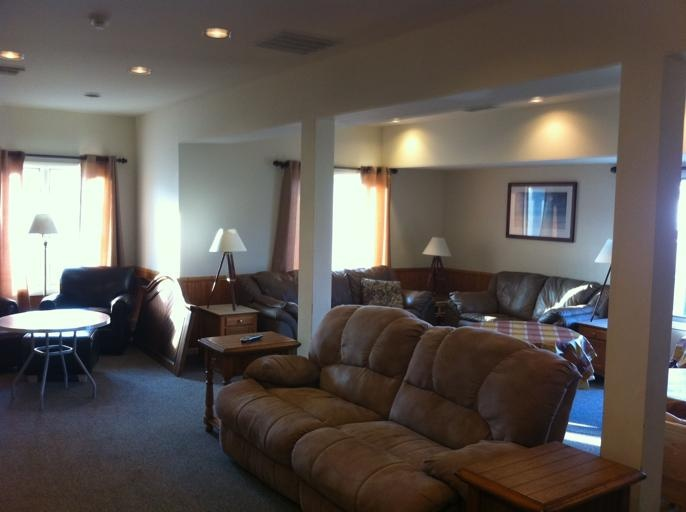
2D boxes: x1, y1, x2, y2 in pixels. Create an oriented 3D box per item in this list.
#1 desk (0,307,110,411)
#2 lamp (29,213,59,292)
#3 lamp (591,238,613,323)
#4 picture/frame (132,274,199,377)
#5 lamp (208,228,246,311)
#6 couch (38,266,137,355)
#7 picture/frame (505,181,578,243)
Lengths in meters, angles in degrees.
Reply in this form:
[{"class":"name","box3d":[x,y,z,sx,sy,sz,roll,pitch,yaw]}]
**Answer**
[{"class":"desk","box3d":[-2.819,0.891,5.188,0.942,0.720,0.955,1,2,-17]},{"class":"lamp","box3d":[-3.798,0.006,6.695,0.294,1.088,0.693,-4,9,-31]},{"class":"lamp","box3d":[2.996,0.259,6.099,0.159,0.902,0.629,5,9,25]},{"class":"picture/frame","box3d":[-2.117,0.861,6.353,0.071,0.747,0.931,13,6,-38]},{"class":"lamp","box3d":[-1.413,0.141,6.405,0.418,0.941,0.810,-1,8,-15]},{"class":"couch","box3d":[-3.168,0.685,6.872,1.104,1.083,1.071,0,-4,-7]},{"class":"picture/frame","box3d":[2.653,-0.581,6.934,0.028,0.664,0.758,-5,10,-39]}]
